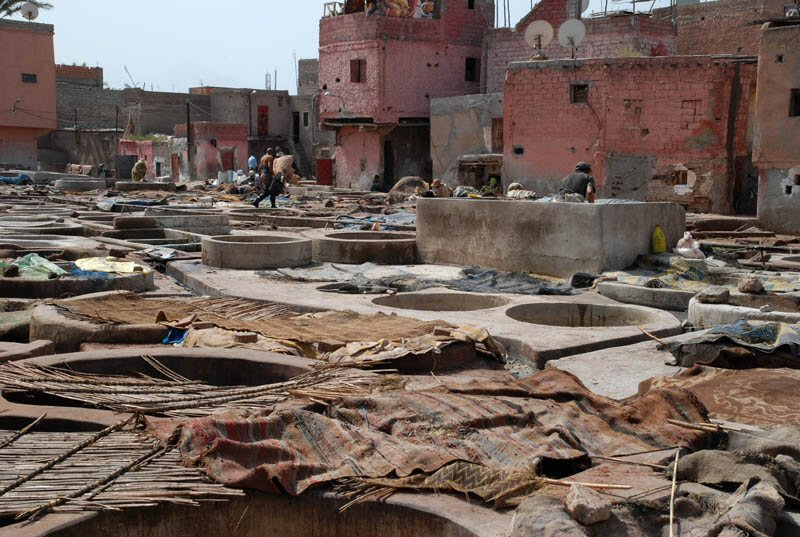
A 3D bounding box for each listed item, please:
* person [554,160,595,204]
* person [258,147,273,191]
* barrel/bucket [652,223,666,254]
[{"bbox_3d":[3.173,-1.578,13.304,0.561,0.721,1.299,1,5,12],"label":"person"},{"bbox_3d":[-4.091,-3.065,22.959,0.408,1.288,1.340,-1,5,-9],"label":"person"},{"bbox_3d":[4.449,-0.514,12.668,0.242,0.469,0.467,5,7,37],"label":"barrel/bucket"}]
